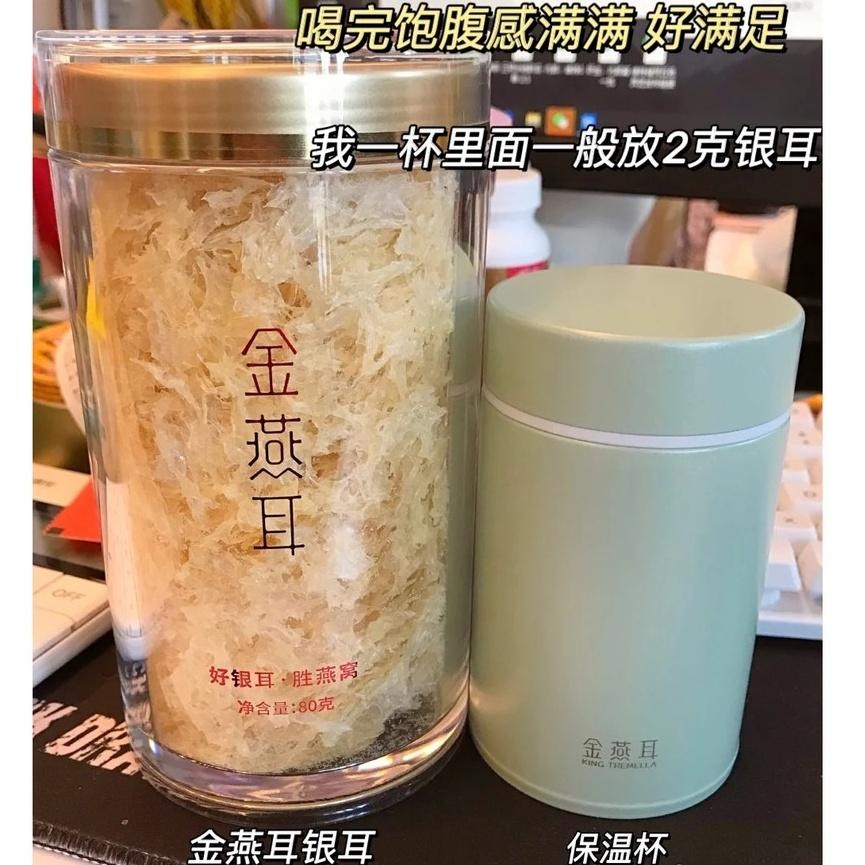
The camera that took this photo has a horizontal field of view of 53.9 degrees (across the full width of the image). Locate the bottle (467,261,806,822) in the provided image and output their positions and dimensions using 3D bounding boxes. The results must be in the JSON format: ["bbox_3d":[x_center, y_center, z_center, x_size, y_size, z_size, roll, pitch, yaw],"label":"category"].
[{"bbox_3d":[0.069,0.040,0.324,0.112,0.195,0.089,7,19,21],"label":"bottle"}]

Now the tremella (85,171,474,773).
[{"bbox_3d":[-0.050,0.020,0.297,0.111,0.213,0.042,-5,19,-15],"label":"tremella"}]
